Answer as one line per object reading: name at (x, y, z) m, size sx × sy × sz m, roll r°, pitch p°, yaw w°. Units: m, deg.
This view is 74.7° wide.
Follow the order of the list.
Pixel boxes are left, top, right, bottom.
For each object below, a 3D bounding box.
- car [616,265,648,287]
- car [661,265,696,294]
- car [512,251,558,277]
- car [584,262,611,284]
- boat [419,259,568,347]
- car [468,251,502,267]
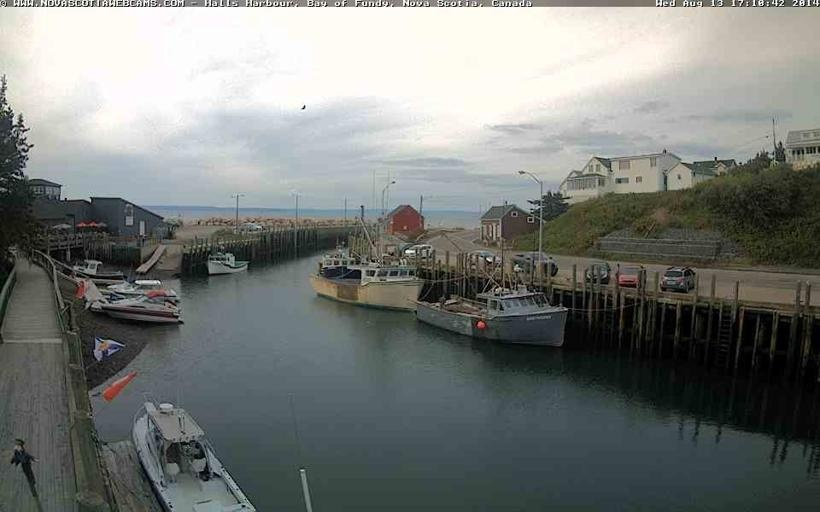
car at (13.289, 1.253, 32.494) m, size 1.427 × 0.998 × 2.425 m, roll -1°, pitch 0°, yaw 22°
car at (16.456, 1.418, 32.803) m, size 1.222 × 0.943 × 2.587 m, roll 3°, pitch 10°, yaw 36°
car at (9.282, 0.474, 39.717) m, size 2.072 × 1.141 × 3.434 m, roll -2°, pitch 6°, yaw -23°
car at (12.167, 1.049, 34.720) m, size 1.442 × 0.996 × 3.071 m, roll -1°, pitch -1°, yaw 19°
boat at (5.567, 3.687, 33.487) m, size 7.059 × 2.466 × 4.099 m, roll 3°, pitch 5°, yaw 43°
car at (6.133, 0.270, 43.125) m, size 2.690 × 0.711 × 1.595 m, roll -11°, pitch 19°, yaw -43°
